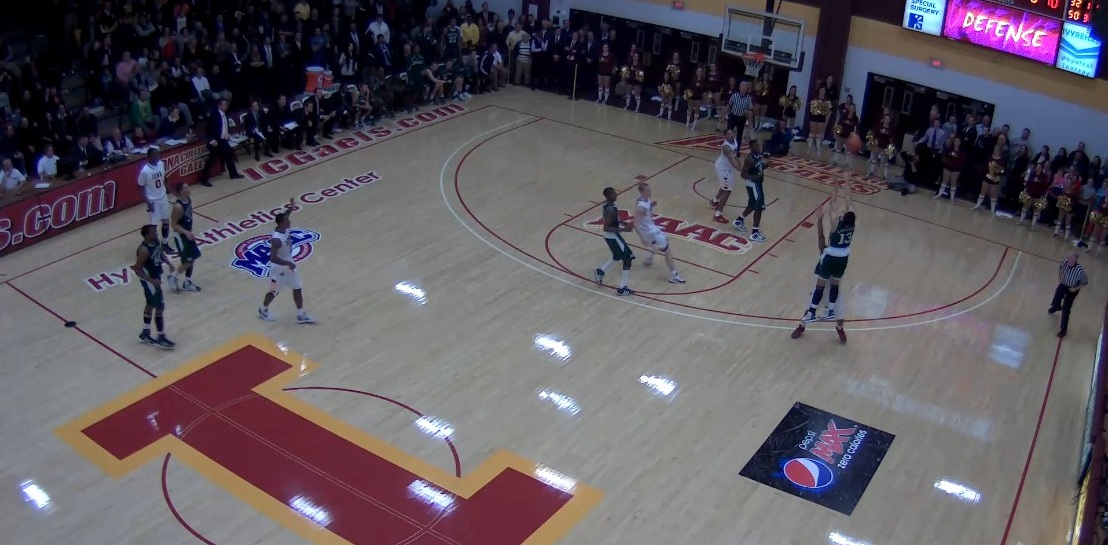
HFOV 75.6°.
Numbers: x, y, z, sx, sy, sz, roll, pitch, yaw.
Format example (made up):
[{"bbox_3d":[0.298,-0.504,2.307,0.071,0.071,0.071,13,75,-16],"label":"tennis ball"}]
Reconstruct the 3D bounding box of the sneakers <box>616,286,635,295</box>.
[{"bbox_3d":[2.161,0.609,21.880,0.571,0.231,0.216,-2,32,-5],"label":"sneakers"}]

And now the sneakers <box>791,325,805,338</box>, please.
[{"bbox_3d":[7.119,1.789,20.937,0.261,0.131,0.470,36,87,16],"label":"sneakers"}]

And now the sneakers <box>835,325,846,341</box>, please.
[{"bbox_3d":[8.374,1.829,20.849,0.266,0.121,0.461,-1,61,-21],"label":"sneakers"}]

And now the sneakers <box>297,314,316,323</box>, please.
[{"bbox_3d":[-7.164,1.374,20.620,0.487,0.230,0.229,2,44,1],"label":"sneakers"}]
